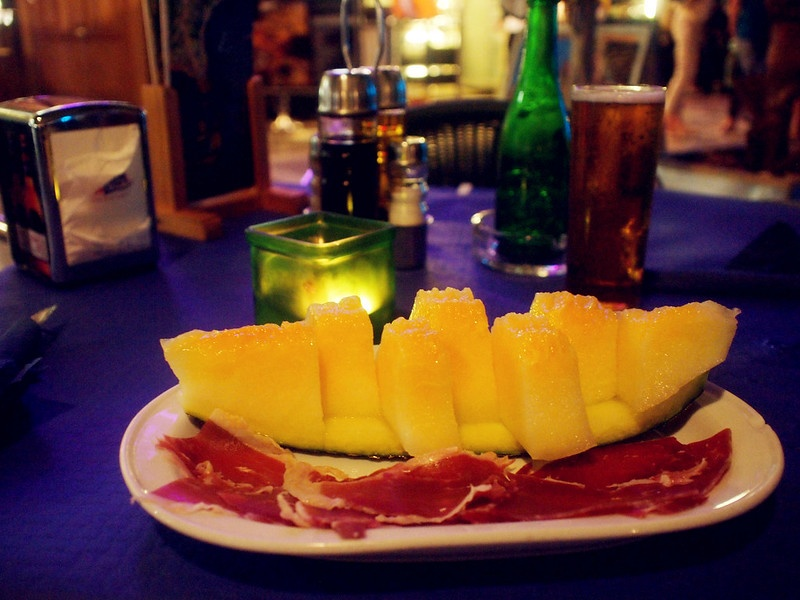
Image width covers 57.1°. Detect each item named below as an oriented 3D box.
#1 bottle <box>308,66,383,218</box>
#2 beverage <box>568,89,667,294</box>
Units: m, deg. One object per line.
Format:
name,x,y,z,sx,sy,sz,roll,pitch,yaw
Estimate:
bottle,-0.078,-0.224,1.126,0.124,0.232,0.126,-1,22,0
beverage,0.250,-0.129,0.885,0.105,0.247,0.060,6,26,12
